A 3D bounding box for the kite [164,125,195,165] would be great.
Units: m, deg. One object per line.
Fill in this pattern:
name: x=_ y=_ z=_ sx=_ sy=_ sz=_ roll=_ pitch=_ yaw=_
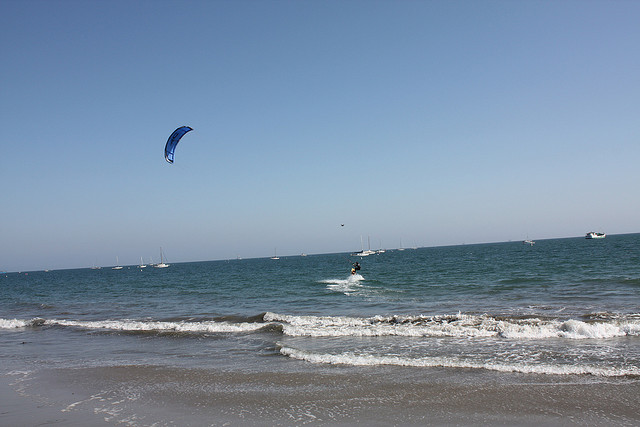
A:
kite: x=-7.473 y=-3.565 z=28.576 sx=1.119 sy=1.836 sz=2.251 roll=-1 pitch=-1 yaw=-13
